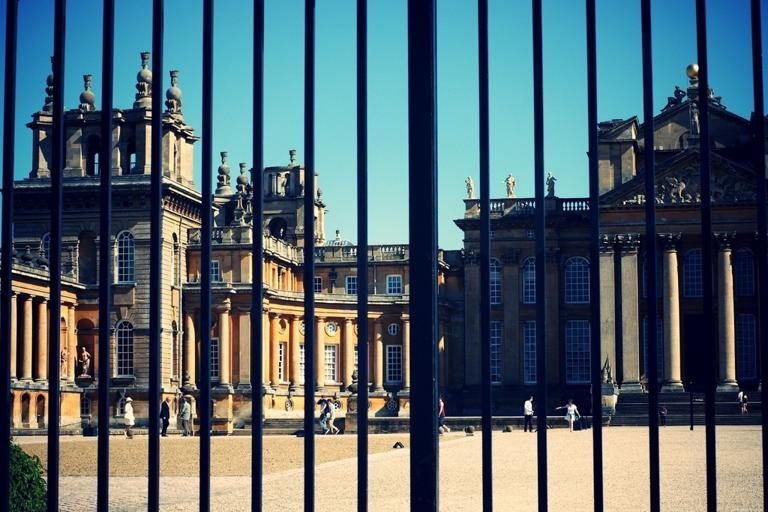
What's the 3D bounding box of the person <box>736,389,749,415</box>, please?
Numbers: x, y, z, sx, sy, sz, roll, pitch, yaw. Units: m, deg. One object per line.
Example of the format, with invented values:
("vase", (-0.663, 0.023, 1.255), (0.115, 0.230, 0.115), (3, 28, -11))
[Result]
("person", (20.129, 8.242, 98.108), (0.543, 1.308, 1.679), (-2, -8, 11))
